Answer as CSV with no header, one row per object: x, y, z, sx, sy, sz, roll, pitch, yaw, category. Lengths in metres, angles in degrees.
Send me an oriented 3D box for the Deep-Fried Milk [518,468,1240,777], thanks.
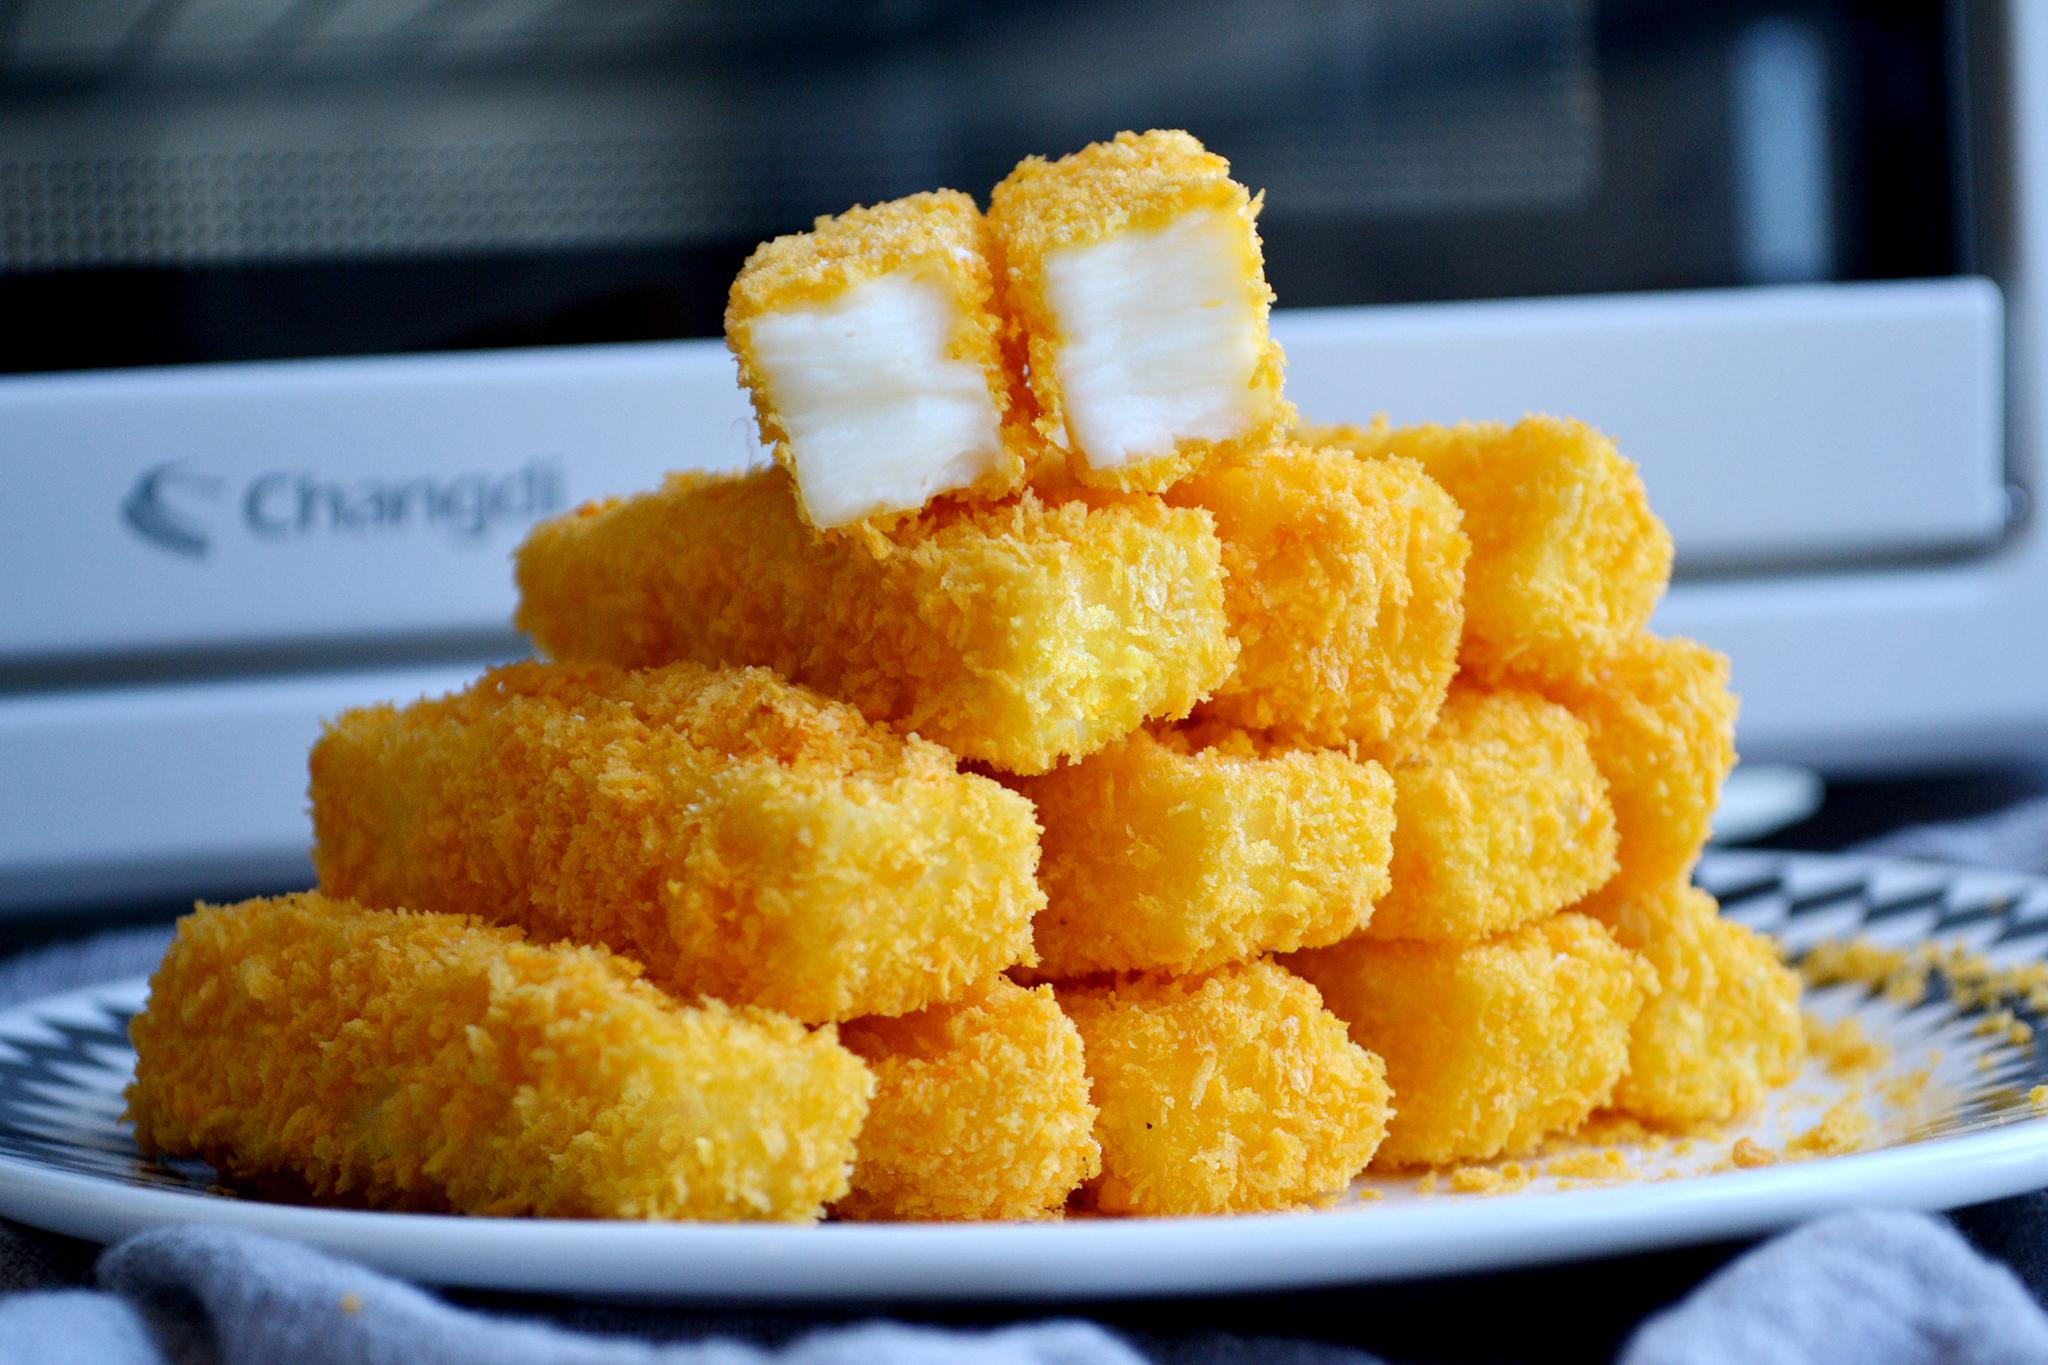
-0.194,-0.029,1.878,0.248,0.153,0.500,2,0,33,Deep-Fried Milk

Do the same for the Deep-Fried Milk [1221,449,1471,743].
0.184,-0.048,1.807,0.159,0.159,0.061,0,1,-18,Deep-Fried Milk

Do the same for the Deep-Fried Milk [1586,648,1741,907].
0.377,0.056,1.870,0.093,0.137,0.054,5,-7,-15,Deep-Fried Milk

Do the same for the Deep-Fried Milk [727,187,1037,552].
-0.077,-0.142,1.833,0.188,0.143,0.201,7,-24,-32,Deep-Fried Milk

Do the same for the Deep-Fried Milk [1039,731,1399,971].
0.103,0.084,1.788,0.171,0.072,0.135,-1,2,-40,Deep-Fried Milk

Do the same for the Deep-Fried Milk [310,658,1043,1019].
-0.208,0.060,1.840,0.438,0.155,0.231,7,24,30,Deep-Fried Milk

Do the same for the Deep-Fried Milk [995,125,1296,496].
0.070,-0.201,1.858,0.172,0.194,0.174,-18,-10,-4,Deep-Fried Milk
